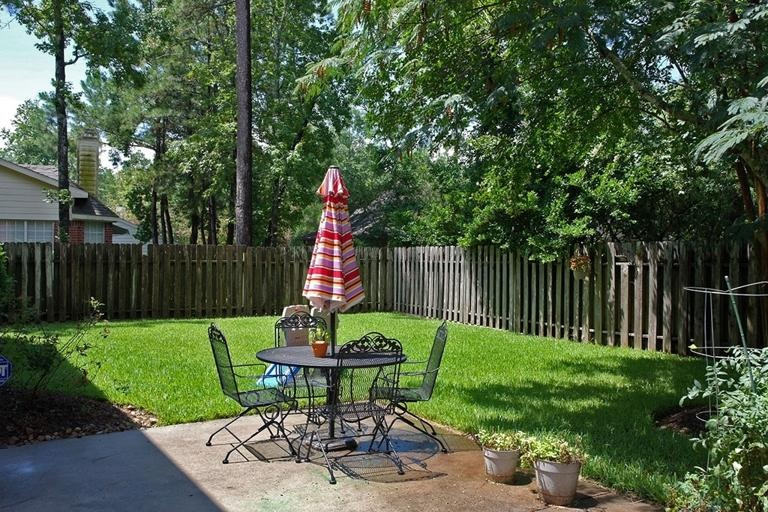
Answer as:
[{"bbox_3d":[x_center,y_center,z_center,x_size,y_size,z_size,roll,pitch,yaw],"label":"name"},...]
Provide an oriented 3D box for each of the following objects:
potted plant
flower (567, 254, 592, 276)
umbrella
[{"bbox_3d":[1.893,2.671,9.088,0.810,0.477,1.100,6,-7,-44],"label":"potted plant"},{"bbox_3d":[4.483,0.190,15.942,0.427,0.489,0.455,-1,2,-6],"label":"flower"},{"bbox_3d":[-0.698,0.054,10.151,0.788,2.633,0.856,3,12,15],"label":"umbrella"}]
